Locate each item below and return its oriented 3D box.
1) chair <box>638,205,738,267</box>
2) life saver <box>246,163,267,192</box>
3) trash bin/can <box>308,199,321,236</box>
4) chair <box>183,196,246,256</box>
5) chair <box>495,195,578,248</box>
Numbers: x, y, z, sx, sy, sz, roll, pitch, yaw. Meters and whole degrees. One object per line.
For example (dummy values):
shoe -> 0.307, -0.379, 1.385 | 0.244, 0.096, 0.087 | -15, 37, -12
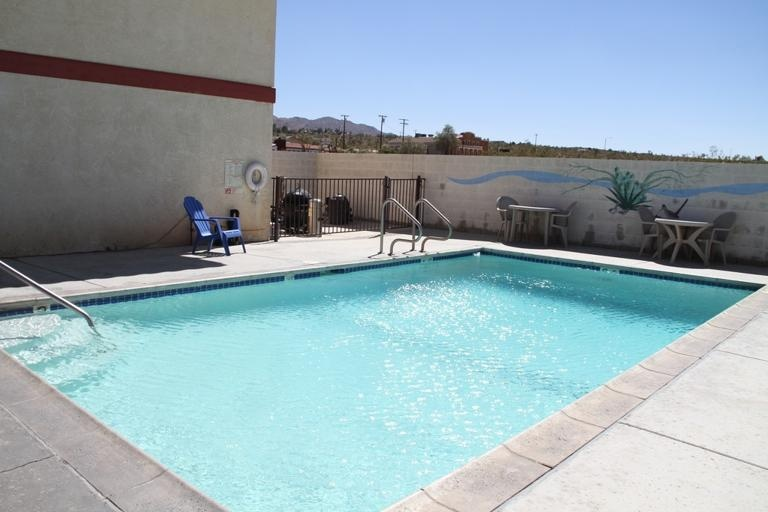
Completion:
chair -> 6.032, -0.421, 10.411 | 1.661, 1.072, 1.399 | 8, 12, 33
life saver -> -2.700, -1.691, 10.962 | 0.159, 0.620, 0.503 | 12, 14, 41
trash bin/can -> -1.732, -0.972, 12.686 | 0.359, 0.796, 0.358 | 0, 8, -4
chair -> -3.129, -0.556, 9.525 | 1.084, 0.891, 0.758 | 8, 9, 14
chair -> 3.521, -0.844, 12.213 | 1.800, 1.059, 1.163 | 5, 11, 20
